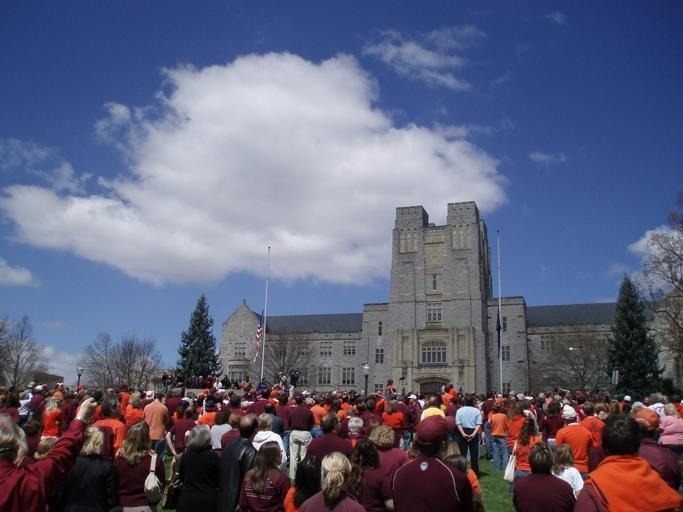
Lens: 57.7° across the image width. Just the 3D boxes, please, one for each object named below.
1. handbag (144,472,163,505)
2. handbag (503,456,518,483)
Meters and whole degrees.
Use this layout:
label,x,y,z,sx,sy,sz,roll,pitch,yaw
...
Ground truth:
label,x,y,z,sx,sy,sz,roll,pitch,yaw
handbag,-2.982,3.654,9.773,0.214,0.408,0.345,-12,-55,-20
handbag,3.486,4.327,12.731,0.223,0.485,0.618,-4,-16,14
